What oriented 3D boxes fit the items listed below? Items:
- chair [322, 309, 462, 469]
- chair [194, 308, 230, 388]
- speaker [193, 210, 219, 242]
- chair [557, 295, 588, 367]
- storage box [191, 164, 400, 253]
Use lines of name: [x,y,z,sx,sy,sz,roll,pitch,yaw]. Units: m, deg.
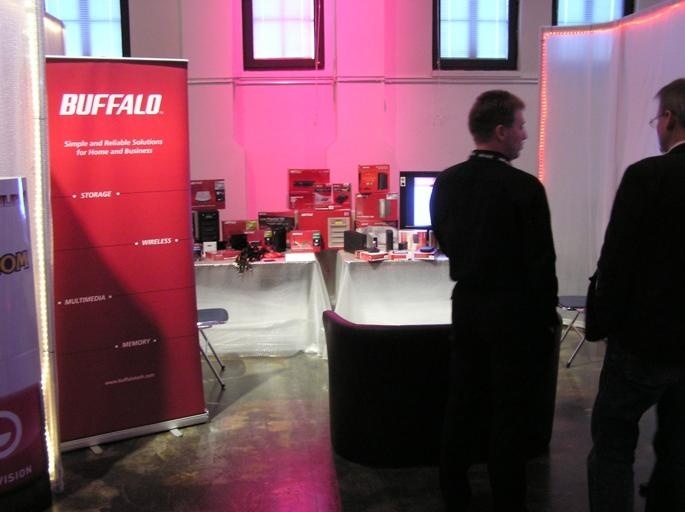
chair: [0.333,0.774,3.724,0.905,0.835,0.779,3,2,-10]
chair: [-1.103,0.759,4.936,0.323,0.402,0.313,-9,-6,-35]
speaker: [-1.200,-0.266,5.320,0.234,0.368,0.255,-1,0,-18]
chair: [1.961,0.620,5.021,0.364,0.444,0.408,-2,8,13]
storage box: [-0.191,-0.463,5.525,1.381,0.701,0.311,1,13,6]
